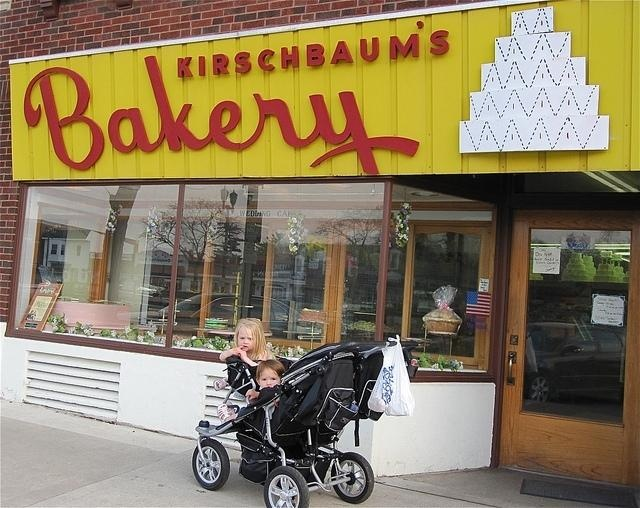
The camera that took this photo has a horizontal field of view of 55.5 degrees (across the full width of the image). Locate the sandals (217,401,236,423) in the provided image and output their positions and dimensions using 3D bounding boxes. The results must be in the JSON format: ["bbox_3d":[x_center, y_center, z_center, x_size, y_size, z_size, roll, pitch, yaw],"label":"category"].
[{"bbox_3d":[-0.899,1.549,5.962,0.104,0.145,0.318,-1,-12,-28],"label":"sandals"}]

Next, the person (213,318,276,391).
[{"bbox_3d":[-0.678,1.039,6.247,0.671,0.914,0.634,-2,-9,16],"label":"person"}]
